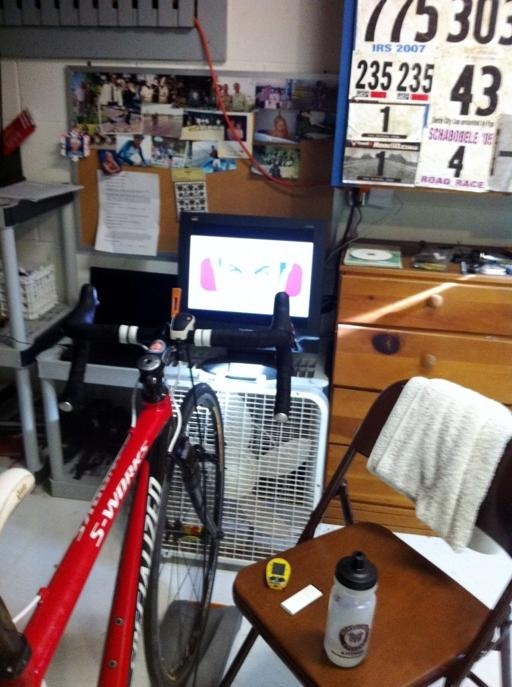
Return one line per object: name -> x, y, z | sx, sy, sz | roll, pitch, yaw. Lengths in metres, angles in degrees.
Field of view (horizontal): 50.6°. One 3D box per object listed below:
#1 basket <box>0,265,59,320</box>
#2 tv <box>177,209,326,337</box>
basket -> -0.819, -0.193, 2.045 | 0.169, 0.207, 0.208 | 2, 5, 1
tv -> -0.015, -0.221, 1.702 | 0.414, 0.307, 0.041 | 3, 13, 7
